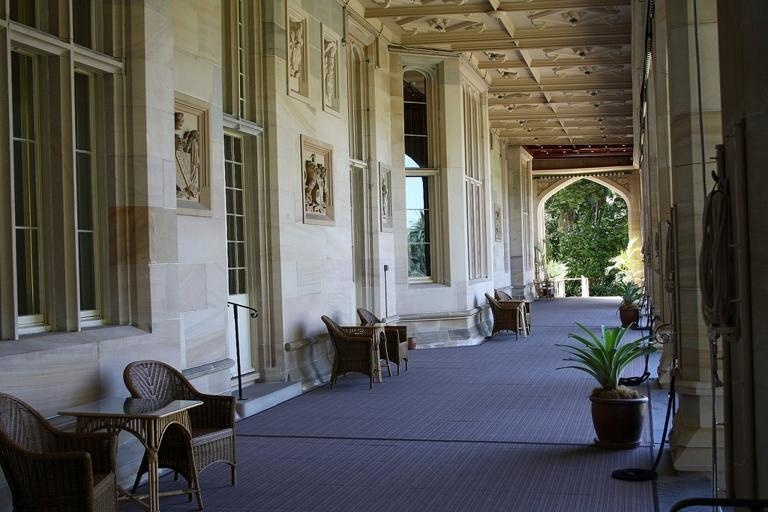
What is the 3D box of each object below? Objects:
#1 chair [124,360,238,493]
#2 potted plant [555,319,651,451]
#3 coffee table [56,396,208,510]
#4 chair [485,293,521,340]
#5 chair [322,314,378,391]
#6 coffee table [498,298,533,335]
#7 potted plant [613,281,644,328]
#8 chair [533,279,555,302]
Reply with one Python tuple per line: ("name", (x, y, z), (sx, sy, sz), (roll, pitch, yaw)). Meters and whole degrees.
("chair", (-1.665, 1.410, 5.553), (1.029, 1.413, 1.010), (-4, -6, 28))
("potted plant", (2.595, 1.543, 7.117), (1.237, 1.406, 1.249), (0, -3, -2))
("coffee table", (-1.883, 1.481, 4.737), (0.912, 0.906, 0.936), (-1, -5, 9))
("chair", (2.790, 1.378, 13.720), (0.893, 1.233, 0.928), (-1, -2, 10))
("chair", (-0.603, 1.367, 8.832), (0.928, 1.228, 0.957), (-1, -1, 8))
("coffee table", (3.188, 1.312, 14.280), (0.746, 1.048, 1.103), (-1, -2, 20))
("potted plant", (6.234, 1.208, 15.105), (0.710, 1.212, 0.758), (-3, 4, -21))
("chair", (6.741, 1.432, 25.052), (0.809, 1.149, 0.757), (-3, -3, 42))
